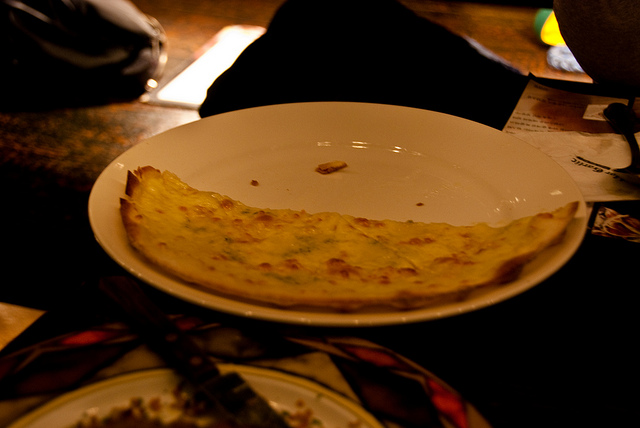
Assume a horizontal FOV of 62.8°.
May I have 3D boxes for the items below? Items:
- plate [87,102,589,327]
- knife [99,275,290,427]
[{"bbox_3d":[0.022,0.006,0.667,0.472,0.072,0.371,-2,36,-2],"label":"plate"},{"bbox_3d":[-0.134,0.158,0.582,0.250,0.012,0.037,37,57,24],"label":"knife"}]
